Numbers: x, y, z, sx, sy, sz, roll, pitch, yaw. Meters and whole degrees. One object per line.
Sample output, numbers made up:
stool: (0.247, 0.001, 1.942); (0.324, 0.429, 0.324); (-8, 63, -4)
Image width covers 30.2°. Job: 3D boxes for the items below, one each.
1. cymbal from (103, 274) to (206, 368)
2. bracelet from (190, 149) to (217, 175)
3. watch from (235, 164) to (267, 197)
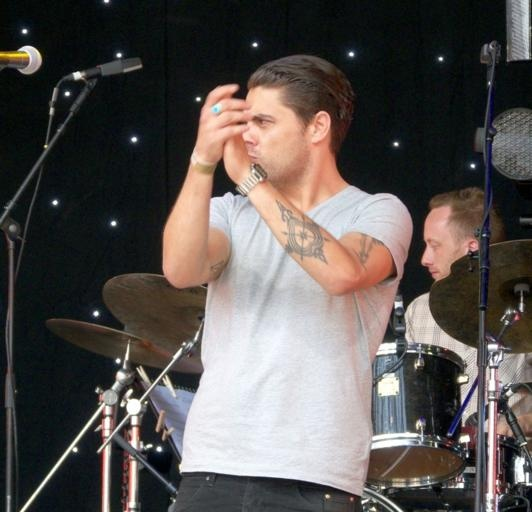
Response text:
cymbal: (-0.410, 0.199, 3.675); (0.388, 0.101, 0.382); (21, -45, 3)
bracelet: (-0.167, -0.239, 2.605); (0.062, 0.040, 0.064); (31, 4, 30)
watch: (-0.037, -0.197, 2.558); (0.062, 0.039, 0.056); (-30, -11, -44)
